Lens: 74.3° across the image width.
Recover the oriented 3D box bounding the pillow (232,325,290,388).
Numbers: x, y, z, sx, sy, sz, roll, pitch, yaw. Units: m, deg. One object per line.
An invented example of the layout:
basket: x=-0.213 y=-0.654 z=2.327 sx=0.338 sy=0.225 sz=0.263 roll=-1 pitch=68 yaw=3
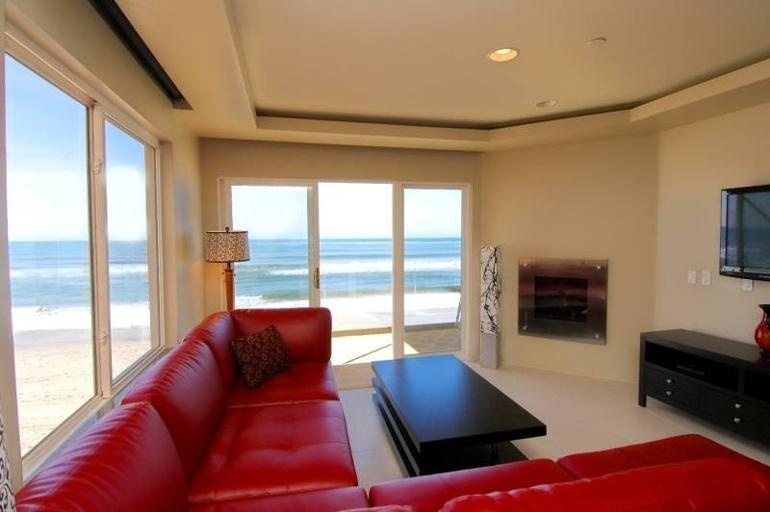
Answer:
pillow: x=-1.101 y=0.873 z=4.517 sx=0.142 sy=0.477 sz=0.542 roll=-34 pitch=-1 yaw=41

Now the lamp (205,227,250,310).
lamp: x=-1.651 y=0.144 z=5.387 sx=0.399 sy=0.882 sz=0.650 roll=0 pitch=2 yaw=-17
